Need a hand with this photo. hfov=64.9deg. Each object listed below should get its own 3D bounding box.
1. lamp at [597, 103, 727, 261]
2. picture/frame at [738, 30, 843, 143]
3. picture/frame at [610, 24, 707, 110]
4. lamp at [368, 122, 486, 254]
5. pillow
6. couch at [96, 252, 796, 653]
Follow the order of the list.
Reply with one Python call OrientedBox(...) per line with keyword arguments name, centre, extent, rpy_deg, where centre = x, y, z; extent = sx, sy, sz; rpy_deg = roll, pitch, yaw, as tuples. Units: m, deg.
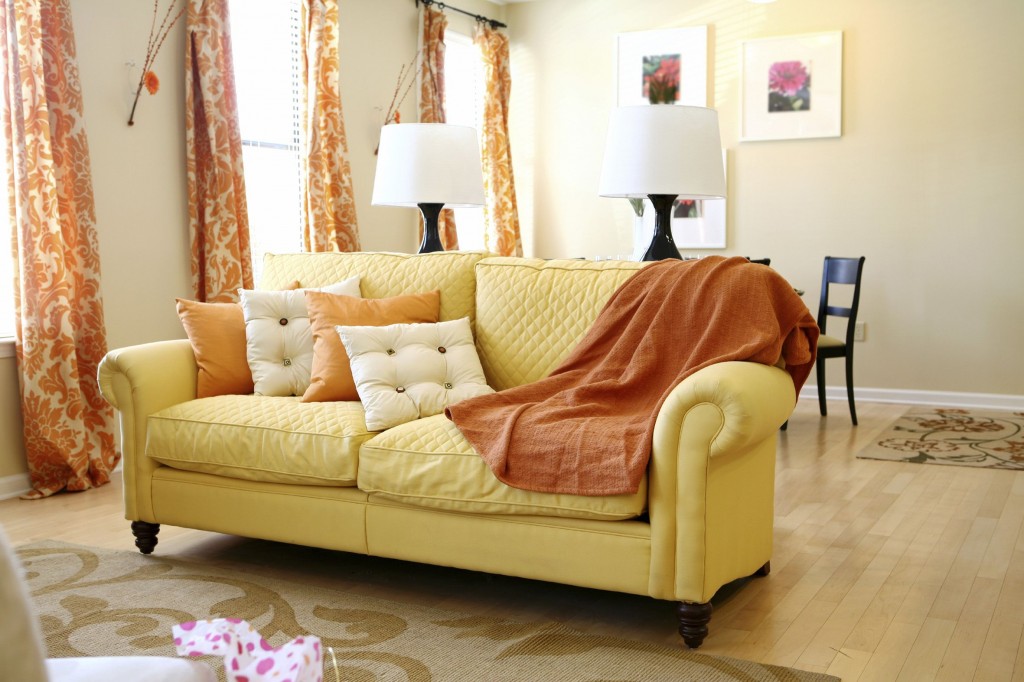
OrientedBox(name="lamp", centre=(0.720, -0.723, 3.826), extent=(0.548, 0.715, 0.541), rpy_deg=(3, 10, 20))
OrientedBox(name="picture/frame", centre=(2.214, -2.012, 6.315), extent=(0.968, 0.976, 0.053), rpy_deg=(1, 2, 21))
OrientedBox(name="picture/frame", centre=(1.250, -2.284, 6.702), extent=(0.811, 0.638, 0.210), rpy_deg=(2, 12, 13))
OrientedBox(name="lamp", centre=(-0.465, -0.815, 4.610), extent=(0.604, 0.774, 0.591), rpy_deg=(-1, 10, -8))
OrientedBox(name="pillow", centre=(-0.713, 0.028, 3.470), extent=(0.787, 0.351, 0.915), rpy_deg=(-15, 11, -38))
OrientedBox(name="couch", centre=(-0.386, 0.292, 3.438), extent=(2.920, 1.265, 0.993), rpy_deg=(2, 8, 24))
